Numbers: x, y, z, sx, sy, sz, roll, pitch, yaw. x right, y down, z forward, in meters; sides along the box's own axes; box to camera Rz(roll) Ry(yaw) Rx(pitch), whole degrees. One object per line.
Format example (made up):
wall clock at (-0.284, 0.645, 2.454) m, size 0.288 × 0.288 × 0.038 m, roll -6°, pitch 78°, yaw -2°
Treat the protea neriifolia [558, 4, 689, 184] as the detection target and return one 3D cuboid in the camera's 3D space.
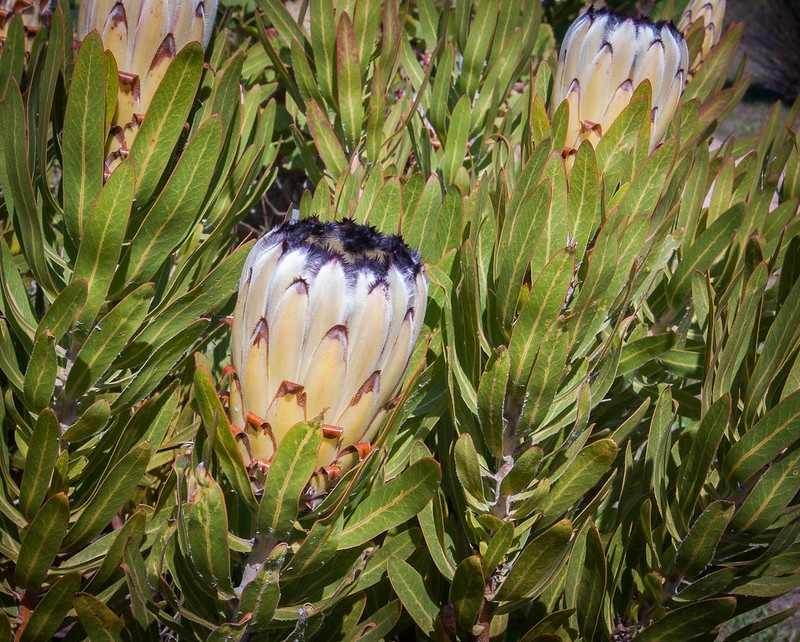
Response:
protea neriifolia at (0.432, -0.520, 2.180) m, size 0.238 × 0.432 × 0.296 m, roll 11°, pitch 14°, yaw -3°
